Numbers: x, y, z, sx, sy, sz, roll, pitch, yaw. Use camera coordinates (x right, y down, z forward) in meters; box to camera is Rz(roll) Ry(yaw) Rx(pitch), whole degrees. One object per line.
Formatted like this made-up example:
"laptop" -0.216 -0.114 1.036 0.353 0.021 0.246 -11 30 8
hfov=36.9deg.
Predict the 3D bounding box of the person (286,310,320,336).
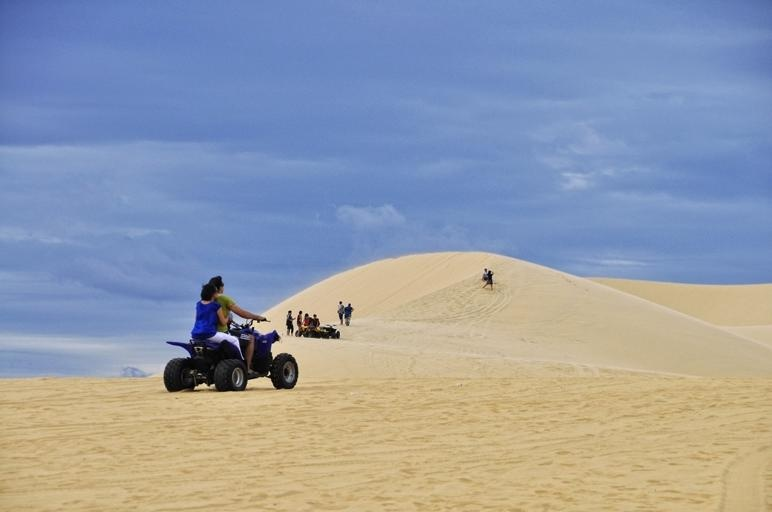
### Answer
"person" -3.306 2.919 48.831 1.228 1.032 1.999 3 -11 -32

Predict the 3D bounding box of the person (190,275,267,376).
"person" -3.560 1.615 25.461 1.342 2.096 0.658 -3 16 -9
